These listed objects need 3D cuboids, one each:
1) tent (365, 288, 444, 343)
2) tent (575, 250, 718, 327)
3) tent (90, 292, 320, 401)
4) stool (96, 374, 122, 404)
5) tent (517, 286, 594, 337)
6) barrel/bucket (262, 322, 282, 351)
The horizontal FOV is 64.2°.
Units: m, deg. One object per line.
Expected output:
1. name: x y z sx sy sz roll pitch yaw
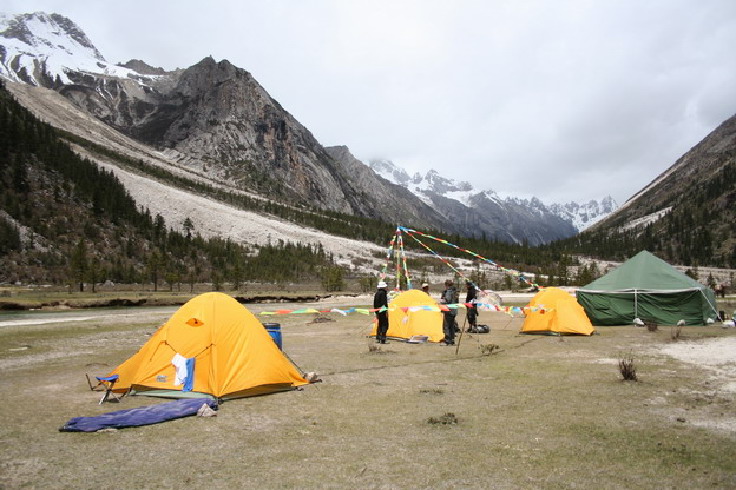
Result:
1. tent: 2.310 3.367 28.068 2.392 1.754 2.360 0 -3 -32
2. tent: 16.055 2.894 33.985 4.992 2.877 5.242 -1 -1 14
3. tent: -5.095 3.233 18.955 5.473 3.027 1.670 0 8 0
4. stool: -8.146 4.499 18.375 0.740 1.020 0.775 -1 -2 -4
5. tent: 9.921 3.437 30.421 2.399 1.576 3.105 -4 -9 29
6. barrel/bucket: -3.412 3.353 21.608 0.938 1.088 0.960 -2 -3 0
